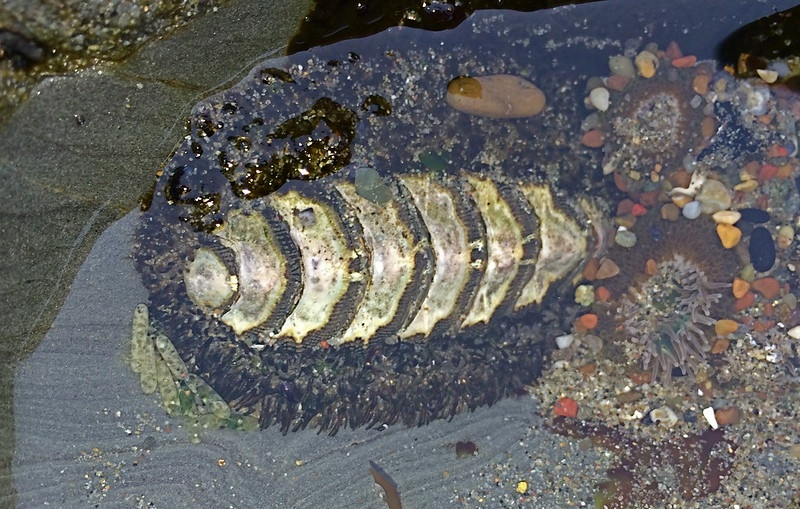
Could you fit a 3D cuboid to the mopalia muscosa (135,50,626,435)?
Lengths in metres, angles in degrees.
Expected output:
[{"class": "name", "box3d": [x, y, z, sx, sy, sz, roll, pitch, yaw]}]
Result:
[{"class": "mopalia muscosa", "box3d": [-0.492, -0.133, 14.961, 5.956, 1.202, 4.829, -4, 84, -2]}]

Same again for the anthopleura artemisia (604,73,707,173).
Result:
[{"class": "anthopleura artemisia", "box3d": [3.578, -1.835, 15.001, 1.150, 0.204, 1.437, 32, 94, -13]}]
